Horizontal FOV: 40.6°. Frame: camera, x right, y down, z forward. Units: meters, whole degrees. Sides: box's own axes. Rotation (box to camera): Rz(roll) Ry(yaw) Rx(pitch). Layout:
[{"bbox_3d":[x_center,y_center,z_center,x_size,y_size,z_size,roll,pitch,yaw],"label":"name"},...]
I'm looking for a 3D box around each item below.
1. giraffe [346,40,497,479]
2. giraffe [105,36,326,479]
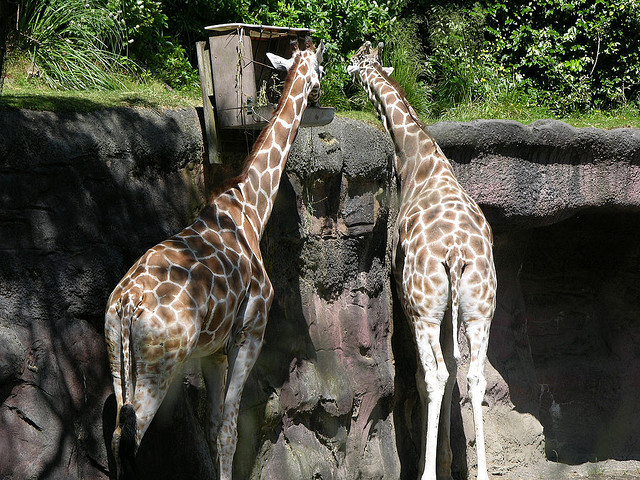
[{"bbox_3d":[1.290,0.270,9.789,0.931,4.263,2.156,-1,7,-12],"label":"giraffe"},{"bbox_3d":[-1.017,0.204,8.478,0.863,4.140,2.216,5,8,34],"label":"giraffe"}]
